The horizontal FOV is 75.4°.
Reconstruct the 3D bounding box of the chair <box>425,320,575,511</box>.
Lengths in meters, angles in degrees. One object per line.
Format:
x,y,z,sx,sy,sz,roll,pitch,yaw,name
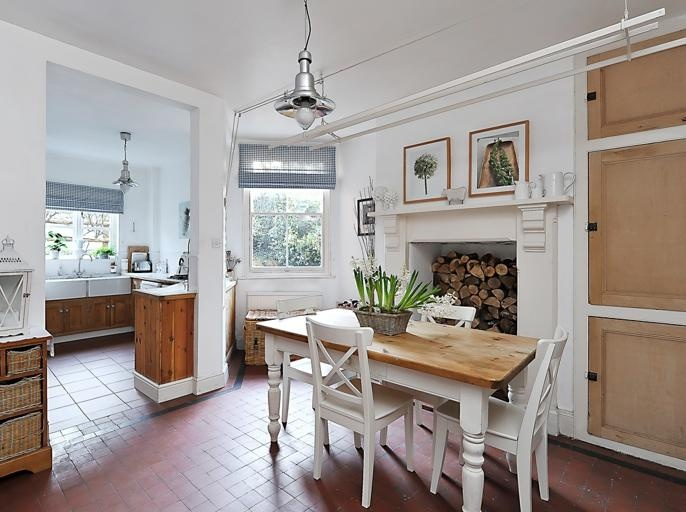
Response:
1.269,1.173,3.756,1.142,1.803,0.970,2,-4,30,chair

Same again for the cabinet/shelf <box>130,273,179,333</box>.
-2.736,0.654,6.388,0.879,0.474,0.287,-1,-4,40,cabinet/shelf

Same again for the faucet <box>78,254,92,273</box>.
-3.992,0.119,6.855,0.105,0.258,0.222,5,13,20,faucet

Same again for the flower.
0.535,0.310,3.609,0.704,0.506,0.659,6,1,38,flower

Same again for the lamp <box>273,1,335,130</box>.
-0.265,-1.141,2.997,0.401,0.544,0.339,0,13,-2,lamp

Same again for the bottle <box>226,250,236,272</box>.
-1.506,0.064,5.947,0.154,0.274,0.130,-8,15,-34,bottle

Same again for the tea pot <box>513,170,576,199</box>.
1.712,-0.589,3.780,0.199,0.341,0.553,-2,6,-40,tea pot

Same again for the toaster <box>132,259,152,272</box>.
-3.281,0.170,7.270,0.296,0.208,0.162,0,5,-38,toaster

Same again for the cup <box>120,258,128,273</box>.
-3.558,0.167,7.228,0.102,0.191,0.137,-3,13,-15,cup

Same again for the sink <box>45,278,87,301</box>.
-3.855,0.462,6.183,0.529,0.317,0.509,1,1,-33,sink

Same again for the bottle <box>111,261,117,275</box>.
-3.685,0.186,7.148,0.075,0.174,0.107,-2,13,-12,bottle

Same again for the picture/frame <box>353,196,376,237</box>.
0.280,-0.494,5.590,0.044,0.613,0.509,3,-4,-31,picture/frame

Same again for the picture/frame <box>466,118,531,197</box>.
1.448,-0.896,4.063,0.764,0.959,0.033,-1,-1,44,picture/frame

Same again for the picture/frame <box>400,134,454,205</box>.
0.879,-0.873,4.505,0.747,0.945,0.042,2,2,42,picture/frame

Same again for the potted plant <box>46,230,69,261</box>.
-4.318,-0.164,6.679,0.353,0.376,0.283,1,-1,25,potted plant
